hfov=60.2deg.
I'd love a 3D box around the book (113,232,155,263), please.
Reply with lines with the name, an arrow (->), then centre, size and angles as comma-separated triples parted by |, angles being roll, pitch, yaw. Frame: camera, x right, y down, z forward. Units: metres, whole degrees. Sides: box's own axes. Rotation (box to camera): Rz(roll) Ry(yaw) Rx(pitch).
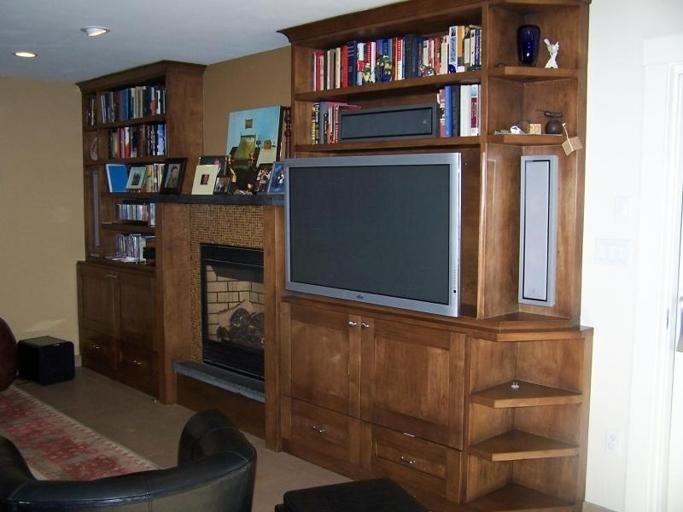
book -> -2.071, -0.113, 5.722 | 0.318, 0.153, 0.421 | 3, 5, 1

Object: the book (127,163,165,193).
book -> -1.917, -0.757, 5.710 | 0.151, 0.262, 0.694 | -9, 11, -39

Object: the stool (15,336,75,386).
stool -> -2.905, 0.982, 5.810 | 0.447, 0.391, 0.434 | 6, 5, 36

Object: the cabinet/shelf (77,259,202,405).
cabinet/shelf -> -1.815, 0.708, 5.413 | 1.199, 0.778, 0.429 | 5, 5, 44

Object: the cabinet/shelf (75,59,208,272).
cabinet/shelf -> -1.847, -0.878, 5.536 | 0.528, 2.075, 1.800 | -2, 4, -44
